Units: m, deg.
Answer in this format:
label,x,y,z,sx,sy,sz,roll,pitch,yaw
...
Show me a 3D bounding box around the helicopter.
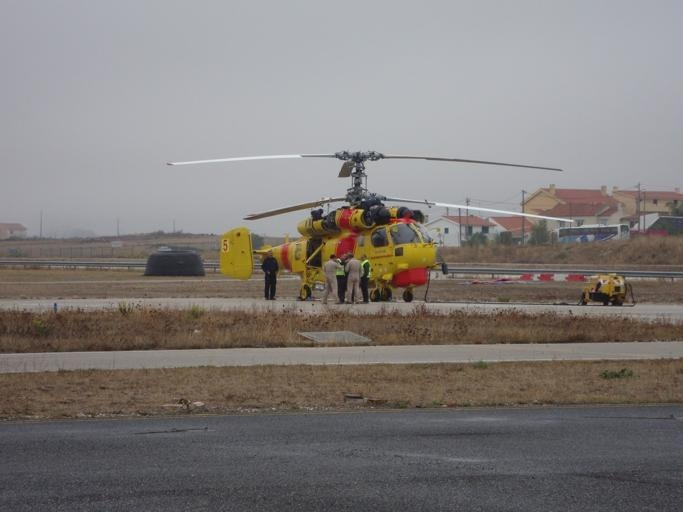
label,x,y,z,sx,sy,sz,roll,pitch,yaw
helicopter,-0.535,-0.842,34.747,15.664,4.415,4.324,0,0,19
